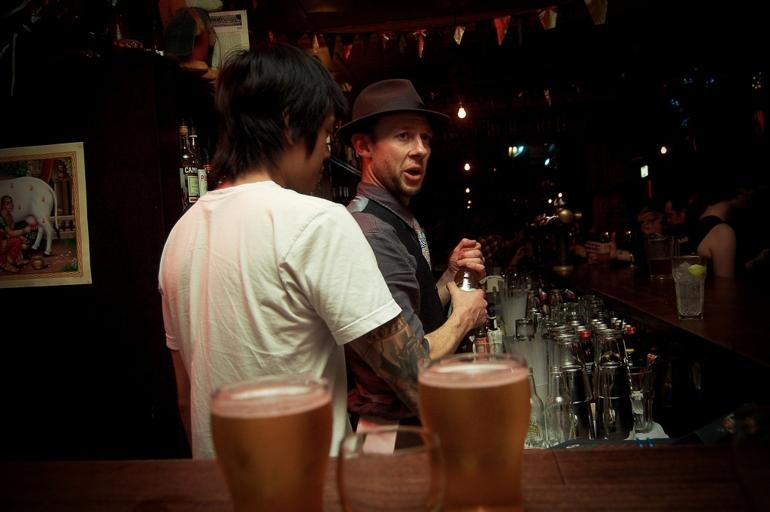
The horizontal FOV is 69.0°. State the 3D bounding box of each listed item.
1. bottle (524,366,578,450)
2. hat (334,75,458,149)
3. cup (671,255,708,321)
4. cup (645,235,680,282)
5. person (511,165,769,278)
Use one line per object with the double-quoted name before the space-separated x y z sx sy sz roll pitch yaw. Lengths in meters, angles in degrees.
"bottle" 0.588 0.537 2.000 0.160 0.181 0.282 -1 -1 19
"hat" -0.044 -0.681 2.696 0.348 0.151 0.422 -1 -13 -40
"cup" 1.336 0.130 2.462 0.120 0.223 0.191 -1 -1 29
"cup" 1.842 0.007 3.757 0.171 0.233 0.199 -1 -1 24
"person" 2.191 -0.227 4.170 1.692 0.965 0.796 -1 0 -17
